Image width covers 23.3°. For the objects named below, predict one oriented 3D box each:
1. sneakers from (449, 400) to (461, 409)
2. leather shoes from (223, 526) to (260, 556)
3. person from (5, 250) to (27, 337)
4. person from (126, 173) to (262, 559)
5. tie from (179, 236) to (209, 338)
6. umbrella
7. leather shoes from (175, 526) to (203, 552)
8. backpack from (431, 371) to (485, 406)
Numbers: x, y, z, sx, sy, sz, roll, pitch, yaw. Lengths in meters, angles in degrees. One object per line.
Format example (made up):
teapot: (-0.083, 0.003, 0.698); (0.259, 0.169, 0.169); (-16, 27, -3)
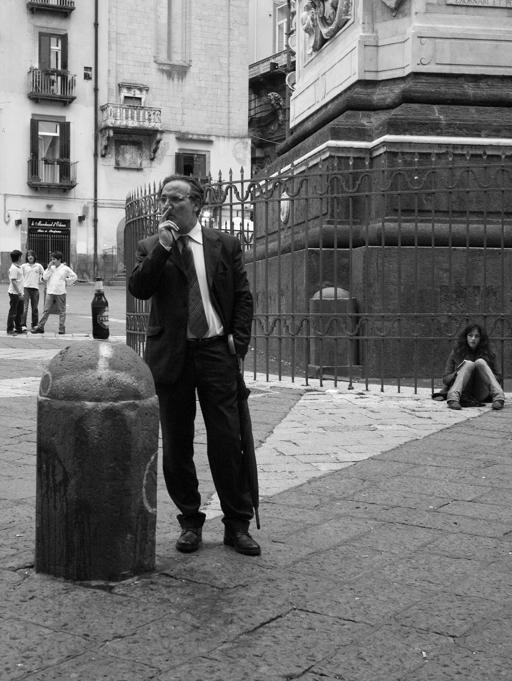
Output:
sneakers: (1.564, 0.495, 9.802); (0.105, 0.080, 0.137); (0, 2, 9)
leather shoes: (-0.070, 0.872, 5.399); (0.066, 0.094, 0.204); (0, -5, -24)
person: (-3.884, -0.791, 19.783); (0.284, 1.351, 1.500); (0, 2, -11)
person: (-0.281, 0.092, 5.460); (0.577, 1.633, 0.426); (0, 1, -7)
tie: (-0.280, -0.230, 5.448); (0.105, 0.445, 0.114); (0, 1, -15)
umbrella: (-0.067, 0.464, 6.019); (0.065, 0.895, 0.179); (-7, 2, 3)
leather shoes: (-0.301, 0.857, 5.417); (0.101, 0.092, 0.220); (0, 2, 2)
backpack: (1.695, 0.371, 9.987); (0.303, 0.136, 0.242); (-5, 7, -32)
